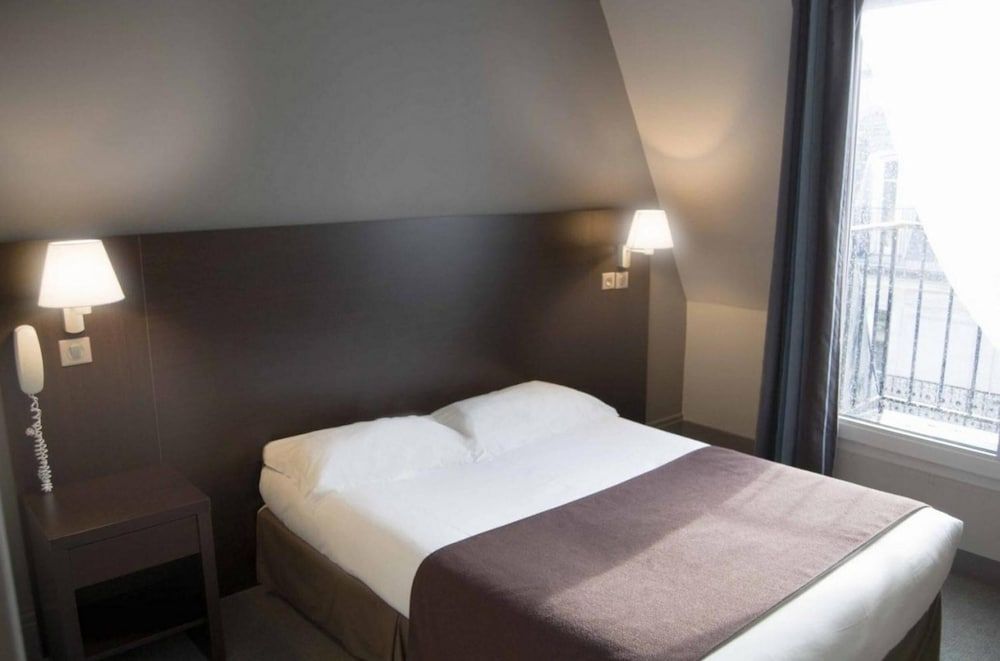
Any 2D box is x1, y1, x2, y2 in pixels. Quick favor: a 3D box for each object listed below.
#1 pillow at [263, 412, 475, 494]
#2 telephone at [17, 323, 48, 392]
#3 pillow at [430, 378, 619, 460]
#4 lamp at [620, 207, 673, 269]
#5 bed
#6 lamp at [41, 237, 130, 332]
[{"bbox_3d":[-0.788,0.774,4.603,0.829,0.200,0.603,-9,18,-34],"label":"pillow"},{"bbox_3d":[-2.566,0.162,3.977,0.130,0.385,0.170,-12,16,-32],"label":"telephone"},{"bbox_3d":[0.202,0.601,5.136,0.818,0.174,0.637,-14,21,-37],"label":"pillow"},{"bbox_3d":[1.210,-0.776,6.016,0.427,0.512,0.380,-1,17,16],"label":"lamp"},{"bbox_3d":[0.161,0.998,3.949,2.202,0.827,2.306,-9,14,-40],"label":"bed"},{"bbox_3d":[-2.295,-0.239,4.073,0.441,0.516,0.434,4,17,26],"label":"lamp"}]
